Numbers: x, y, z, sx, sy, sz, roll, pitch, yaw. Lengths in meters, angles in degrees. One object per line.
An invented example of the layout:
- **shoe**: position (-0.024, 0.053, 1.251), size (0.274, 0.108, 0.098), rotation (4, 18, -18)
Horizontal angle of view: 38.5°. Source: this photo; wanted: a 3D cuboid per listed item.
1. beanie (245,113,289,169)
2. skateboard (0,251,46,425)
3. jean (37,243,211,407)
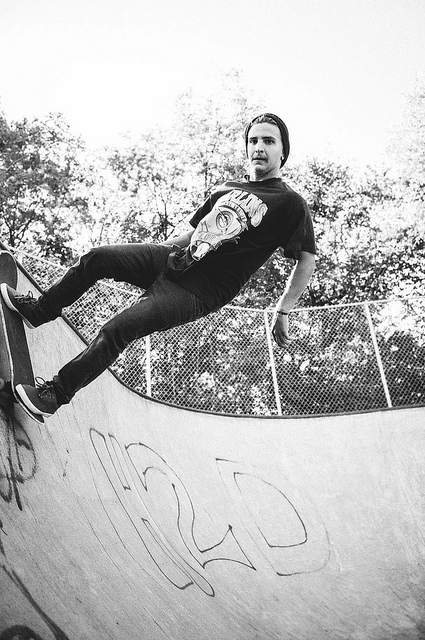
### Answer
- **beanie**: position (0.387, -1.254, 4.268), size (0.319, 0.375, 0.295), rotation (4, 4, -3)
- **skateboard**: position (-1.131, 0.089, 3.488), size (0.178, 1.129, 0.262), rotation (-17, -19, 17)
- **jean**: position (-0.535, 0.012, 3.637), size (0.952, 0.972, 0.405), rotation (1, 5, -30)
